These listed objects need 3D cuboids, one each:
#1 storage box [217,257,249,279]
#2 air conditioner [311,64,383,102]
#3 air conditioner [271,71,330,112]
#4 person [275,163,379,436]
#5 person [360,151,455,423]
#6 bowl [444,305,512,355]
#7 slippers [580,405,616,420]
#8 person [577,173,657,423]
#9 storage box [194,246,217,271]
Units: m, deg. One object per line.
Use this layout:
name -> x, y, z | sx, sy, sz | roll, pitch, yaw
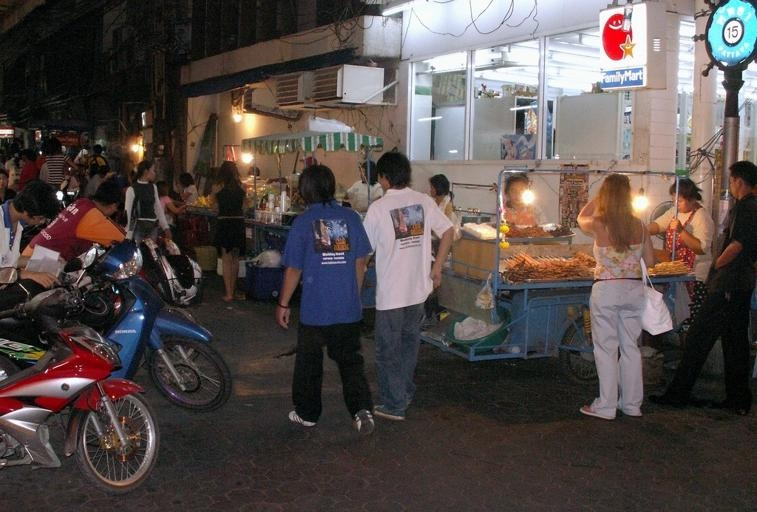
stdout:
storage box -> -3.150, 0.262, 12.756 | 0.586, 0.365, 0.573 | 0, 0, -21
air conditioner -> -0.663, -3.695, 12.921 | 1.526, 0.775, 0.746 | 1, 10, 3
air conditioner -> -1.673, -3.816, 13.441 | 1.311, 0.946, 0.999 | -11, 14, -9
person -> -0.517, 0.357, 5.808 | 0.920, 2.324, 1.031 | 0, 3, -8
person -> 0.202, 0.288, 6.148 | 0.898, 2.499, 0.998 | -1, 3, -38
bowl -> 1.169, 0.909, 7.051 | 0.584, 0.225, 0.581 | -7, 24, 3
slippers -> 2.221, 1.542, 6.044 | 0.224, 0.081, 0.148 | 14, 4, 30
person -> 2.401, 0.425, 6.295 | 0.851, 2.315, 0.973 | -2, -3, -8
storage box -> -3.890, 0.042, 13.639 | 0.522, 0.568, 0.573 | -2, 1, 14
